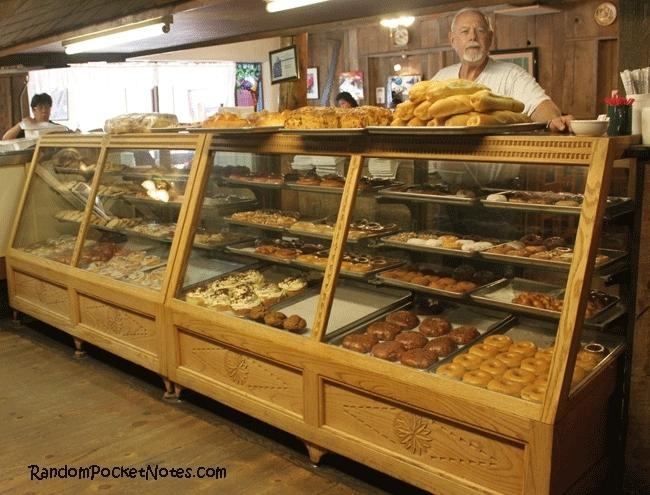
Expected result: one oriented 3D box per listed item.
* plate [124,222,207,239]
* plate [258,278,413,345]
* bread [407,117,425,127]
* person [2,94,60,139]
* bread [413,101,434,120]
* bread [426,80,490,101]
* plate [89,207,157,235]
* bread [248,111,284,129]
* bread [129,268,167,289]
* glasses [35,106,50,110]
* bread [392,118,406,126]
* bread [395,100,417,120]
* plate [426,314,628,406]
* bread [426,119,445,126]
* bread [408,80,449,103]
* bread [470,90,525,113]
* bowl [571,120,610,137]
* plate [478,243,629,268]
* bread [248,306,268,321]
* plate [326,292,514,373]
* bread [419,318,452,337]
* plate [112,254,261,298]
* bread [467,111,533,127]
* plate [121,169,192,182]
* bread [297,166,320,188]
[{"bbox_3d":[-1.197,-0.118,3.571,0.381,0.027,0.223,10,14,40],"label":"plate"},{"bbox_3d":[0.149,0.311,2.695,0.496,0.036,0.453,10,17,38],"label":"plate"},{"bbox_3d":[0.432,-0.579,2.390,0.075,0.033,0.073,0,12,2],"label":"bread"},{"bbox_3d":[-4.101,-1.840,7.143,0.551,0.604,1.087,-12,13,-40],"label":"person"},{"bbox_3d":[0.448,-0.624,2.346,0.081,0.042,0.091,17,3,-2],"label":"bread"},{"bbox_3d":[0.599,-0.698,2.300,0.249,0.052,0.096,-6,16,-4],"label":"bread"},{"bbox_3d":[-1.531,-0.193,3.813,0.380,0.075,0.239,10,8,24],"label":"plate"},{"bbox_3d":[-0.348,-0.750,3.085,0.234,0.064,0.230,0,10,-7],"label":"bread"},{"bbox_3d":[-1.150,0.176,3.341,0.225,0.046,0.204,9,12,31],"label":"bread"},{"bbox_3d":[-3.803,-1.866,6.881,0.063,0.064,0.067,31,18,-9],"label":"glasses"},{"bbox_3d":[0.358,-0.601,2.471,0.058,0.024,0.054,-1,5,0],"label":"bread"},{"bbox_3d":[0.389,-0.653,2.471,0.071,0.051,0.121,-27,10,9],"label":"bread"},{"bbox_3d":[0.803,0.485,2.201,0.439,0.047,0.425,-22,17,-35],"label":"plate"},{"bbox_3d":[0.504,-0.563,2.326,0.034,0.016,0.063,-23,18,-36],"label":"bread"},{"bbox_3d":[0.448,-0.713,2.359,0.199,0.070,0.068,-15,-34,9],"label":"bread"},{"bbox_3d":[0.764,-0.635,2.287,0.243,0.064,0.110,1,8,-26],"label":"bread"},{"bbox_3d":[1.100,-0.477,2.128,0.133,0.035,0.104,0,4,1],"label":"bowl"},{"bbox_3d":[0.916,0.018,2.298,0.100,0.076,0.436,-9,11,-35],"label":"plate"},{"bbox_3d":[-0.374,0.364,2.860,0.112,0.029,0.063,-9,41,11],"label":"bread"},{"bbox_3d":[0.441,0.416,2.547,0.567,0.040,0.451,-13,13,-43],"label":"plate"},{"bbox_3d":[0.555,0.398,2.578,0.131,0.020,0.104,1,16,13],"label":"bread"},{"bbox_3d":[-0.839,0.183,3.232,0.553,0.056,0.334,9,19,36],"label":"plate"},{"bbox_3d":[0.758,-0.551,2.246,0.363,0.054,0.092,-3,16,-21],"label":"bread"},{"bbox_3d":[-1.146,-0.495,3.534,0.460,0.055,0.032,8,30,35],"label":"plate"},{"bbox_3d":[-0.084,-0.395,2.897,0.114,0.034,0.115,9,-25,3],"label":"bread"}]
